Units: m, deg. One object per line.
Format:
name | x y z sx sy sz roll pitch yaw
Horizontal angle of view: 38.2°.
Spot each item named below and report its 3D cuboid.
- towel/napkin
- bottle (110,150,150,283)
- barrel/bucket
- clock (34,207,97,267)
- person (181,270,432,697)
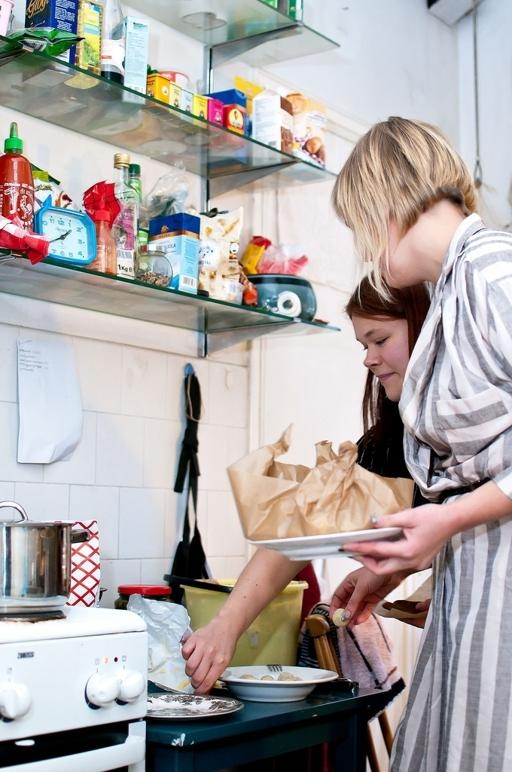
towel/napkin | 0.220 0.546 1.506 0.213 0.083 0.201 2 -2 1
bottle | -0.257 -0.337 1.470 0.056 0.182 0.178 -3 2 -8
barrel/bucket | -0.029 0.455 1.524 0.223 0.136 0.212 0 -10 0
clock | -0.344 -0.265 1.320 0.019 0.094 0.117 -8 -8 44
person | 0.130 0.157 1.343 0.222 0.781 0.364 20 6 -10
